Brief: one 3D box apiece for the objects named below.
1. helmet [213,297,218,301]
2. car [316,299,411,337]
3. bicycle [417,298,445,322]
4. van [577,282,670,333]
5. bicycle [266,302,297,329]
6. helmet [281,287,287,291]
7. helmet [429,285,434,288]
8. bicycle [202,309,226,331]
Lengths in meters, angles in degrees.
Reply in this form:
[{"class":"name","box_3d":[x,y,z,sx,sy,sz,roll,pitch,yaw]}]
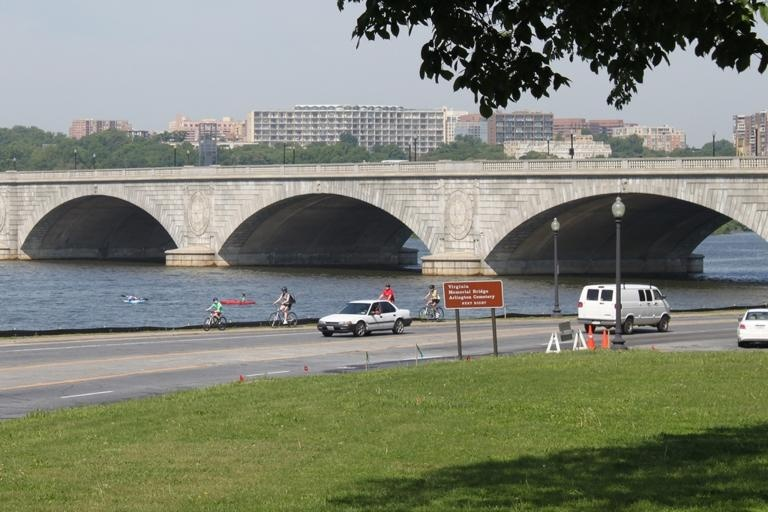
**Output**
[{"class":"helmet","box_3d":[-9.388,2.377,95.419,0.285,0.150,0.286,-7,6,-20]},{"class":"car","box_3d":[-1.150,3.097,85.675,1.883,1.191,3.793,-5,-6,41]},{"class":"bicycle","box_3d":[2.741,3.108,94.596,0.860,0.812,1.421,-3,-6,41]},{"class":"van","box_3d":[11.676,2.565,85.071,4.228,1.954,2.249,-3,4,-34]},{"class":"bicycle","box_3d":[-5.433,3.311,91.237,1.659,0.929,0.808,7,-7,-41]},{"class":"helmet","box_3d":[-5.339,1.729,91.390,0.242,0.097,0.311,4,-4,-12]},{"class":"helmet","box_3d":[2.500,1.673,93.764,0.172,0.208,0.212,0,-3,20]},{"class":"bicycle","box_3d":[-8.867,3.357,89.680,1.200,0.981,1.158,-3,14,-5]}]
